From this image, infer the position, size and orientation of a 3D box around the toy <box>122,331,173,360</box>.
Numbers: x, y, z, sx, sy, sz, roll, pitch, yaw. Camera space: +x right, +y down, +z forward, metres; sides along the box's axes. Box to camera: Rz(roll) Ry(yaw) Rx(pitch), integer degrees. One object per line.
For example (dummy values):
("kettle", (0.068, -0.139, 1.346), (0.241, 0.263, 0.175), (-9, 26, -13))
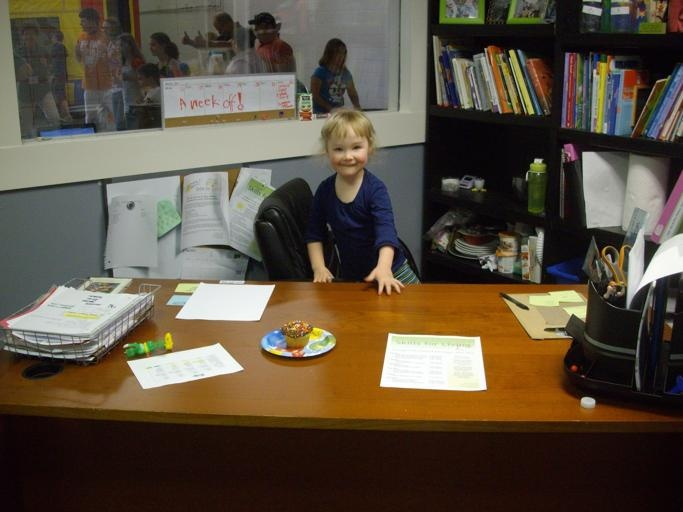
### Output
("toy", (-0.572, 0.263, 1.552), (0.099, 0.044, 0.081), (-4, 15, -7))

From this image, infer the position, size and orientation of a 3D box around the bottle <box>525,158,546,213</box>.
("bottle", (1.067, -0.383, 2.823), (0.103, 0.286, 0.182), (6, 23, 19))

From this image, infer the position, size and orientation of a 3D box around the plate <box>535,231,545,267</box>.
("plate", (1.093, -0.047, 2.849), (0.040, 0.182, 0.106), (4, 22, 14))

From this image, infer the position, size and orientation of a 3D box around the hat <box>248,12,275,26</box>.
("hat", (-0.426, -1.264, 2.753), (0.108, 0.053, 0.073), (0, 27, 2))

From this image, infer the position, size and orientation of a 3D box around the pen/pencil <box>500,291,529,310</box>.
("pen/pencil", (0.595, 0.157, 1.798), (0.022, 0.018, 0.161), (-3, 19, -16))

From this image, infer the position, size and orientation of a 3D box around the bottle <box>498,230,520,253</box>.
("bottle", (0.975, -0.090, 3.051), (0.112, 0.110, 0.111), (-14, 18, -42))

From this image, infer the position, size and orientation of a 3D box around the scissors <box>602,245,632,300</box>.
("scissors", (0.723, 0.049, 1.358), (0.102, 0.112, 0.029), (15, -28, -41))

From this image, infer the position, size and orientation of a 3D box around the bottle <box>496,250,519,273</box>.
("bottle", (0.981, 0.043, 3.108), (0.120, 0.121, 0.120), (-3, 18, -8))

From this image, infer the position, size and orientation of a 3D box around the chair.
("chair", (0.023, -0.099, 2.461), (0.578, 0.691, 0.510), (-1, 32, 13))

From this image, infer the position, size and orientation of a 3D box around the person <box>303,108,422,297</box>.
("person", (0.059, -0.178, 2.151), (0.506, 0.769, 0.617), (4, 23, 13))

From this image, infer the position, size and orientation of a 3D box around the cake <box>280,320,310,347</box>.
("cake", (-0.126, 0.221, 1.517), (0.072, 0.053, 0.073), (-9, 28, -19))
